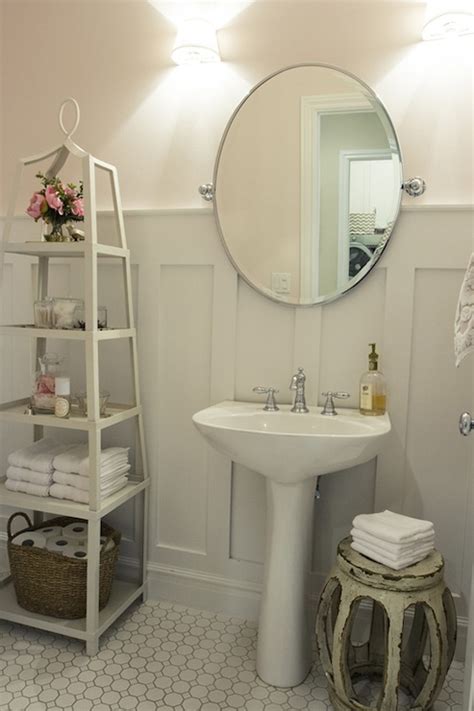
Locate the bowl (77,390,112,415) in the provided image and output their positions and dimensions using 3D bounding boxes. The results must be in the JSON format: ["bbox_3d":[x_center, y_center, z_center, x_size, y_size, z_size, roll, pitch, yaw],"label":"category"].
[{"bbox_3d":[-0.478,0.154,1.922,0.084,0.065,0.084,0,-3,0],"label":"bowl"}]

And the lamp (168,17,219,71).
[{"bbox_3d":[-0.152,-1.003,1.883,0.181,0.092,0.178,1,5,14],"label":"lamp"}]

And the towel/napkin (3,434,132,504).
[{"bbox_3d":[-0.554,0.354,1.946,0.204,0.100,0.276,2,1,17],"label":"towel/napkin"}]

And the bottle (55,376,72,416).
[{"bbox_3d":[-0.560,0.132,1.869,0.043,0.112,0.122,-1,5,-17],"label":"bottle"}]

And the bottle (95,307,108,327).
[{"bbox_3d":[-0.435,-0.121,1.879,0.010,0.065,0.049,2,5,19],"label":"bottle"}]

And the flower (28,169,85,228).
[{"bbox_3d":[-0.603,-0.500,1.949,0.178,0.202,0.208,11,13,11],"label":"flower"}]

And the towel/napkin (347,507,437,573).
[{"bbox_3d":[0.407,0.459,1.472,0.122,0.062,0.128,-3,4,-32],"label":"towel/napkin"}]

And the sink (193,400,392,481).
[{"bbox_3d":[0.151,0.259,1.672,0.552,0.169,0.462,1,5,15],"label":"sink"}]

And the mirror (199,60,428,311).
[{"bbox_3d":[0.262,-0.531,1.797,0.771,0.742,0.108,5,13,25],"label":"mirror"}]
